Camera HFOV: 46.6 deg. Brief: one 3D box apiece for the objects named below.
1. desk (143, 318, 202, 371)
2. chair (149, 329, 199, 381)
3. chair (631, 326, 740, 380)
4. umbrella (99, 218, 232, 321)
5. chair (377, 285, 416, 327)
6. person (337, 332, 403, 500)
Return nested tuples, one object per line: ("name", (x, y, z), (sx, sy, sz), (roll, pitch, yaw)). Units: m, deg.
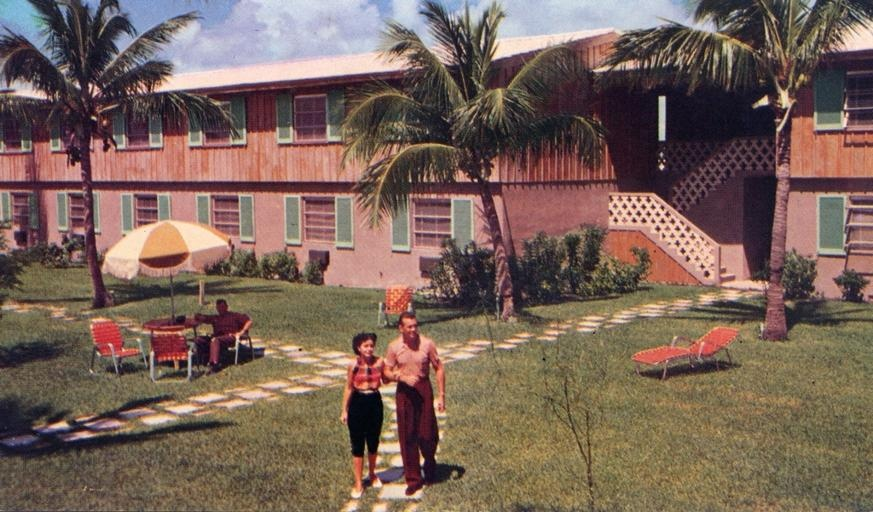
("desk", (-7.558, 3.064, 28.707), (1.212, 1.822, 1.413), (-6, -39, -14))
("chair", (-7.504, 2.729, 28.548), (1.270, 1.460, 1.640), (0, 8, -27))
("chair", (7.031, 2.660, 28.642), (3.132, 1.068, 1.417), (-10, 5, -27))
("umbrella", (-8.052, 0.504, 31.240), (3.406, 3.390, 3.652), (3, 14, 30))
("chair", (-1.449, 1.592, 32.777), (1.050, 1.577, 1.260), (-1, -2, 10))
("person", (-1.666, 3.670, 23.815), (1.029, 3.780, 0.885), (-1, 4, -4))
